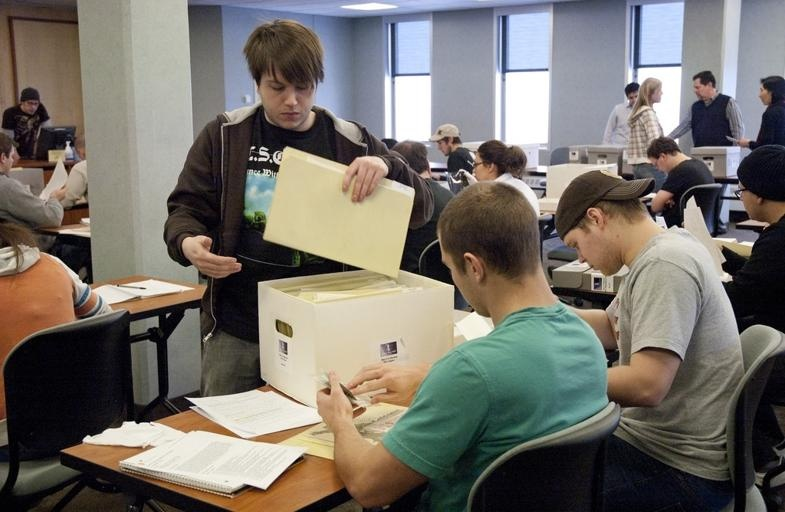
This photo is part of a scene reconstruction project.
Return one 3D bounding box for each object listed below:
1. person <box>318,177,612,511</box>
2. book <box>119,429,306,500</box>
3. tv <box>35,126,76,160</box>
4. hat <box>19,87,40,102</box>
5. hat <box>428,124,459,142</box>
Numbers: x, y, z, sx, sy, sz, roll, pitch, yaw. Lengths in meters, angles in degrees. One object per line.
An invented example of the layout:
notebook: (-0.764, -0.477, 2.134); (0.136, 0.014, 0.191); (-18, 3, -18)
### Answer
person: (0.204, 0.275, 1.699); (0.780, 0.945, 0.365); (-3, 9, -10)
book: (-0.519, 0.597, 1.749); (0.492, 0.076, 0.203); (1, 10, 13)
tv: (-3.966, -1.316, 7.057); (0.473, 0.465, 0.266); (-9, 10, -35)
hat: (-4.561, -2.025, 7.550); (0.148, 0.176, 0.216); (-2, 9, -4)
hat: (0.724, -1.667, 8.142); (0.500, 0.289, 0.355); (1, 11, 5)
